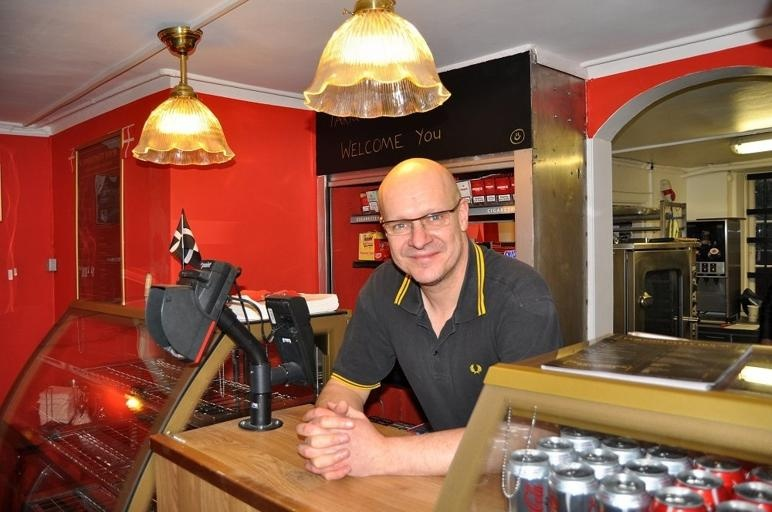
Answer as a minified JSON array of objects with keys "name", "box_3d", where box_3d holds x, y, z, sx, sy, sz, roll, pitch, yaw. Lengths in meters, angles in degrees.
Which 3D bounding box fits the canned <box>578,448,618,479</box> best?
[{"name":"canned","box_3d":[0.466,0.451,1.138,0.061,0.058,0.061,-1,-14,7]}]

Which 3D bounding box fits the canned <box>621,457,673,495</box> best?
[{"name":"canned","box_3d":[0.561,0.472,1.108,0.063,0.038,0.068,-1,-9,10]}]

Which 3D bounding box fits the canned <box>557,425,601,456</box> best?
[{"name":"canned","box_3d":[0.432,0.405,1.157,0.068,0.066,0.068,-1,-3,2]}]

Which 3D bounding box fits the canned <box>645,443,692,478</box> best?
[{"name":"canned","box_3d":[0.610,0.436,1.119,0.064,0.037,0.067,-1,6,9]}]

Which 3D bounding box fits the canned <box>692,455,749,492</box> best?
[{"name":"canned","box_3d":[0.698,0.444,1.089,0.076,0.073,0.075,4,-7,-26]}]

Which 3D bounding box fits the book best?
[{"name":"book","box_3d":[0.628,0.243,1.231,0.346,0.031,0.457,1,5,42]}]

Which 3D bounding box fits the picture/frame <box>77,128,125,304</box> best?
[{"name":"picture/frame","box_3d":[-2.600,-0.400,4.760,0.086,1.617,1.609,3,-5,-42]}]

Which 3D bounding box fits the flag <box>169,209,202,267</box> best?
[{"name":"flag","box_3d":[-1.544,-0.135,3.984,0.228,0.449,0.125,-4,4,-27]}]

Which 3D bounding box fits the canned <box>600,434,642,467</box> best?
[{"name":"canned","box_3d":[0.522,0.424,1.140,0.066,0.040,0.067,-2,-5,28]}]

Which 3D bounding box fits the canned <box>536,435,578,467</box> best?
[{"name":"canned","box_3d":[0.380,0.431,1.153,0.066,0.065,0.066,-2,-9,2]}]

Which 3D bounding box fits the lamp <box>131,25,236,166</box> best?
[{"name":"lamp","box_3d":[-1.240,-0.995,3.097,0.526,0.823,0.548,-4,4,-25]}]
